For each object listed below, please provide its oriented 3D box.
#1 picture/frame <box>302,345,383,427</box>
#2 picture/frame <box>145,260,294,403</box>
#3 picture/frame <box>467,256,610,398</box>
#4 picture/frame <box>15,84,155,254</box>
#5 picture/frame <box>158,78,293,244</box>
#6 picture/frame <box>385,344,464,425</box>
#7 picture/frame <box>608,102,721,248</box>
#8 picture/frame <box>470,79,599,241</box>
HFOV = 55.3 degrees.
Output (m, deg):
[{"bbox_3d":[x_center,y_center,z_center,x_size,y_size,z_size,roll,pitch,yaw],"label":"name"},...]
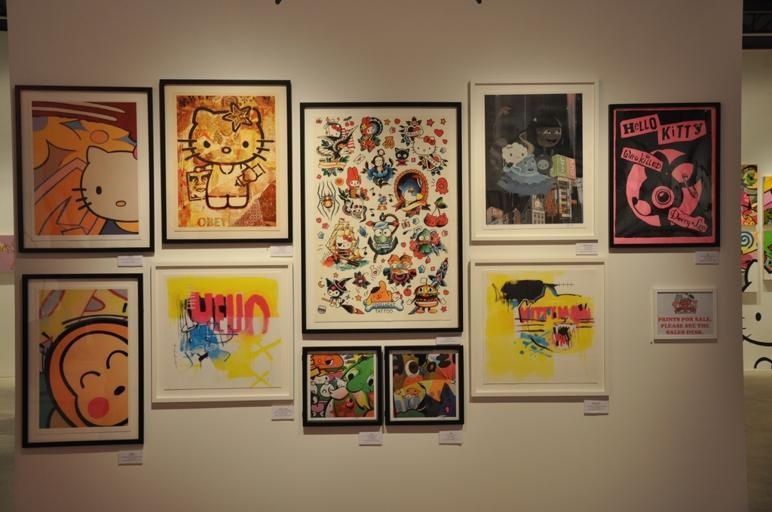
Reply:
[{"bbox_3d":[-0.350,1.010,5.595,0.537,0.588,0.044,0,0,1],"label":"picture/frame"},{"bbox_3d":[-1.298,0.584,5.573,0.944,1.021,0.038,0,1,2],"label":"picture/frame"},{"bbox_3d":[1.162,0.522,5.641,0.982,1.123,0.059,-3,-32,16],"label":"picture/frame"},{"bbox_3d":[-2.319,-0.664,5.562,1.118,1.527,0.059,0,2,0],"label":"picture/frame"},{"bbox_3d":[-1.259,-0.754,5.581,1.108,1.523,0.053,0,2,1],"label":"picture/frame"},{"bbox_3d":[0.298,1.003,5.602,0.521,0.591,0.038,0,-1,2],"label":"picture/frame"},{"bbox_3d":[2.122,-0.649,5.636,0.976,1.461,0.052,0,0,1],"label":"picture/frame"},{"bbox_3d":[1.123,-0.782,5.612,1.073,1.461,0.062,0,2,-1],"label":"picture/frame"}]
